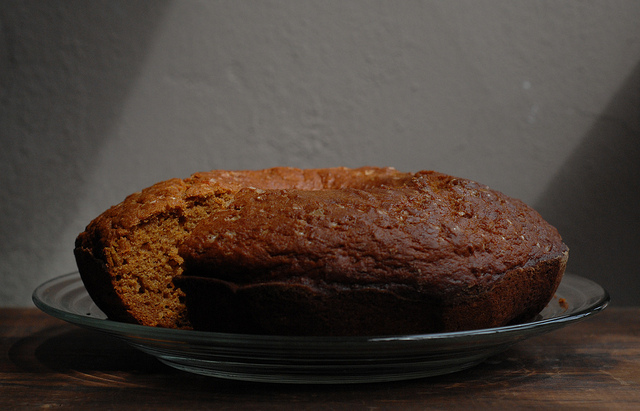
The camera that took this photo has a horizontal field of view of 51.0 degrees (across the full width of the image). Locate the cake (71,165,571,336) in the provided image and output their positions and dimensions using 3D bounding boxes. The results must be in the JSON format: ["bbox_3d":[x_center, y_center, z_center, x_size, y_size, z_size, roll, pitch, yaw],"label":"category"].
[{"bbox_3d":[0.003,0.120,1.778,1.251,0.413,0.473,8,25,10],"label":"cake"}]
